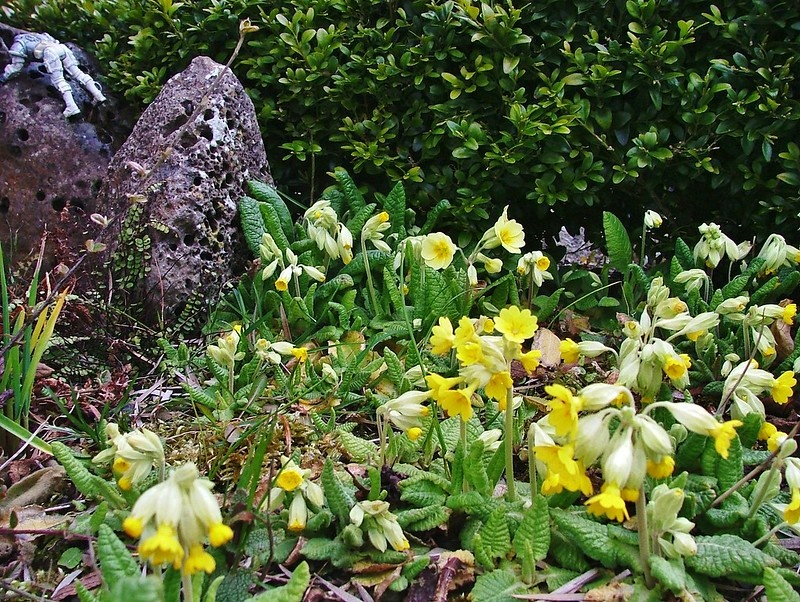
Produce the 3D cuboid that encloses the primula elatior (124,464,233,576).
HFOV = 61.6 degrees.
[{"bbox_3d":[-0.648,0.669,1.985,0.298,0.410,0.204,2,17,-8],"label":"primula elatior"}]

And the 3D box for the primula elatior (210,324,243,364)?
[{"bbox_3d":[-0.863,0.212,3.315,0.112,0.143,0.120,-23,28,-17],"label":"primula elatior"}]

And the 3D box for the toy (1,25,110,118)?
[{"bbox_3d":[-2.414,-1.648,4.659,0.735,0.291,0.518,36,43,-13],"label":"toy"}]

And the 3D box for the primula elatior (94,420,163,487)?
[{"bbox_3d":[-1.020,0.570,2.480,0.198,0.224,0.112,8,39,11],"label":"primula elatior"}]
